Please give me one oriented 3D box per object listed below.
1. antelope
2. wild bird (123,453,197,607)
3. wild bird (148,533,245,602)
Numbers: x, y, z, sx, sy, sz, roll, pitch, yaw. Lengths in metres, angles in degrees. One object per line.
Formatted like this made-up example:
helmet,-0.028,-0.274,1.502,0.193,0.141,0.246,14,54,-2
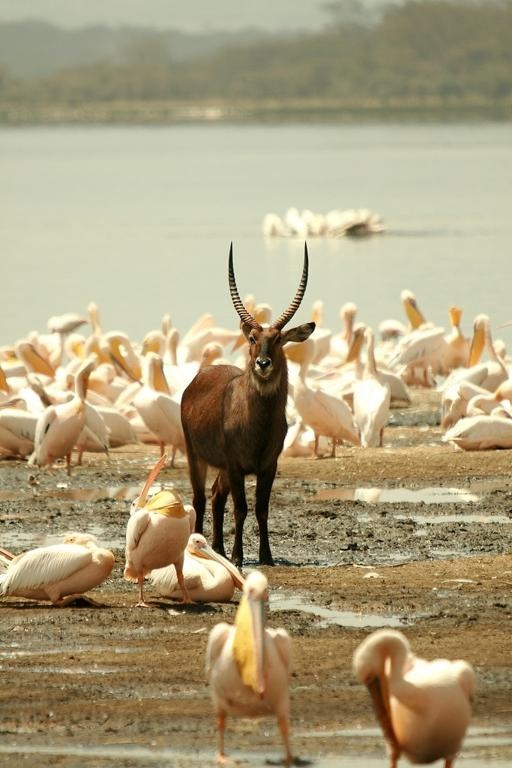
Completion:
antelope,-0.064,0.176,9.092,0.729,1.999,1.215,-3,13,-6
wild bird,-0.519,0.841,7.590,0.382,0.753,0.568,-3,13,-5
wild bird,-0.413,1.012,7.708,0.625,0.453,0.255,-4,-2,18
